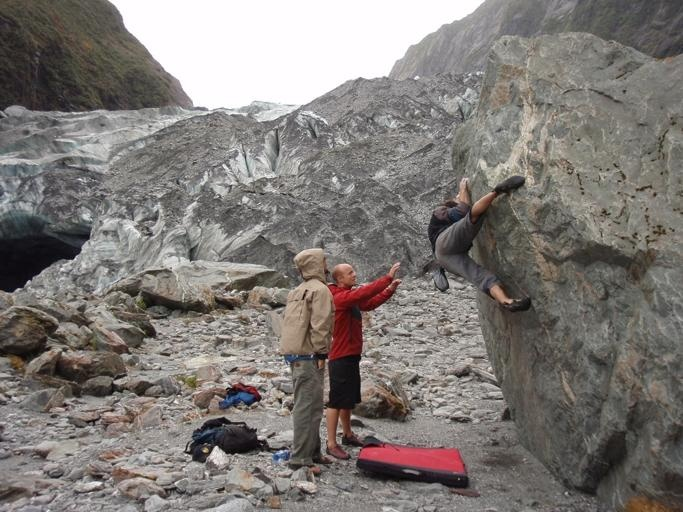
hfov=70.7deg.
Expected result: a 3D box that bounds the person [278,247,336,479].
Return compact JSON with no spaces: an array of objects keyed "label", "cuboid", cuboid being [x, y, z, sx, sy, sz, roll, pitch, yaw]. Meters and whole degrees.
[{"label":"person","cuboid":[-0.290,0.955,4.558,0.536,2.012,0.753,6,7,-21]}]

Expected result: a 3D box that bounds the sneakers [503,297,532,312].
[{"label":"sneakers","cuboid":[1.599,0.446,4.376,0.111,0.102,0.288,-9,-5,-43]}]

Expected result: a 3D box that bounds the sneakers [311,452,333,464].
[{"label":"sneakers","cuboid":[-0.187,1.926,4.604,0.263,0.082,0.077,1,4,-9]}]

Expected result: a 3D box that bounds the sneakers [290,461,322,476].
[{"label":"sneakers","cuboid":[-0.320,1.916,4.358,0.349,0.108,0.108,3,-6,-3]}]

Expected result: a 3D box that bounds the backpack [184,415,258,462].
[{"label":"backpack","cuboid":[-1.159,1.747,4.712,0.513,0.199,0.544,-15,-9,20]}]

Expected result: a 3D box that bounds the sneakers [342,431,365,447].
[{"label":"sneakers","cuboid":[0.107,1.943,5.115,0.313,0.100,0.092,3,-3,2]}]

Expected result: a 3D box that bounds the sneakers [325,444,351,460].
[{"label":"sneakers","cuboid":[-0.034,1.935,4.759,0.233,0.070,0.107,2,2,27]}]

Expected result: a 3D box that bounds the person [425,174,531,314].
[{"label":"person","cuboid":[1.308,-0.154,4.676,0.700,1.211,1.018,6,6,-11]}]

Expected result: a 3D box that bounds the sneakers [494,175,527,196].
[{"label":"sneakers","cuboid":[1.460,-0.610,4.175,0.245,0.081,0.139,-19,25,18]}]

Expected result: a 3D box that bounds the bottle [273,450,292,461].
[{"label":"bottle","cuboid":[-0.559,1.884,4.549,0.155,0.082,0.071,-21,-8,31]}]

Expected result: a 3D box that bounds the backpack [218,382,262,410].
[{"label":"backpack","cuboid":[-1.244,1.708,5.878,0.375,0.140,0.260,5,-5,-22]}]
